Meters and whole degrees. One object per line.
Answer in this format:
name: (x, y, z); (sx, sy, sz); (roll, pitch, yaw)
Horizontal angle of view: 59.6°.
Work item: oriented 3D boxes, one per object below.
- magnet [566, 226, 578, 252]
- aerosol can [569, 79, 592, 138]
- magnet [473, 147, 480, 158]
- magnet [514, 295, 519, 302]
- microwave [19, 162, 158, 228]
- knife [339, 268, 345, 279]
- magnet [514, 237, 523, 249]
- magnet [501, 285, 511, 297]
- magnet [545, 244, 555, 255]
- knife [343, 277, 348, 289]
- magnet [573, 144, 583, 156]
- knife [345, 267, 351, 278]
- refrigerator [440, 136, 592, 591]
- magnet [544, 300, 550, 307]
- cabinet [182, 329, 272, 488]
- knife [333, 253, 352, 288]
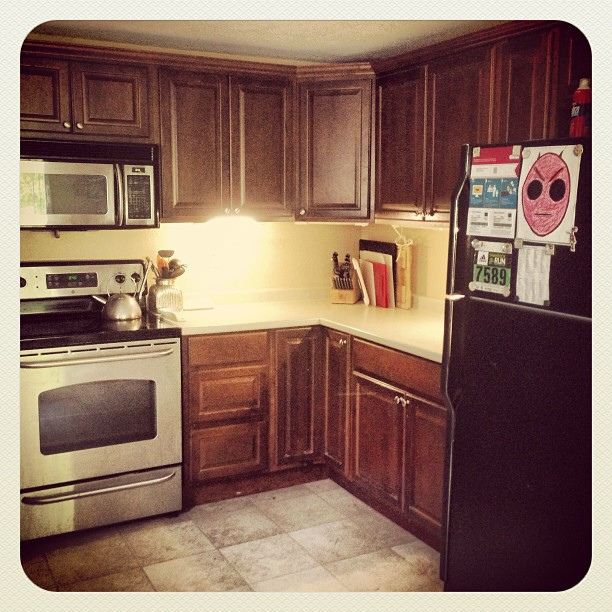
magnet: (0.725, -0.182, 1.457); (0.008, 0.067, 0.032); (-3, 6, -29)
aerosol can: (0.843, -0.590, 1.640); (0.050, 0.193, 0.049); (-3, 17, 1)
magnet: (0.552, -0.498, 1.737); (0.024, 0.029, 0.028); (-11, 3, 17)
magnet: (0.638, -0.024, 1.624); (0.013, 0.019, 0.013); (10, 17, 36)
microwave: (-1.079, -0.527, 2.688); (0.667, 0.392, 0.340); (-3, -3, -18)
knife: (0.221, -0.207, 3.333); (0.011, 0.051, 0.041); (-3, 11, -42)
magnet: (0.640, -0.190, 1.610); (0.004, 0.037, 0.027); (-13, 19, -40)
magnet: (0.619, -0.046, 1.657); (0.005, 0.024, 0.024); (7, 40, -31)
magnet: (0.692, -0.159, 1.521); (0.020, 0.033, 0.031); (2, 5, 14)
knife: (0.245, -0.145, 3.342); (0.030, 0.071, 0.013); (0, 5, 0)
magnet: (0.722, -0.412, 1.421); (0.007, 0.019, 0.025); (10, 37, -25)
knife: (0.258, -0.210, 3.326); (0.031, 0.067, 0.017); (-3, 6, -25)
refrigerator: (0.674, 0.246, 1.778); (0.502, 1.476, 0.354); (1, 9, 3)
magnet: (0.690, -0.008, 1.535); (0.012, 0.016, 0.011); (-12, 16, -38)
cabinet: (-0.542, 0.478, 3.082); (0.632, 1.161, 0.585); (0, 4, -18)
knife: (0.223, -0.220, 3.336); (0.117, 0.210, 0.078); (-1, 6, -5)
